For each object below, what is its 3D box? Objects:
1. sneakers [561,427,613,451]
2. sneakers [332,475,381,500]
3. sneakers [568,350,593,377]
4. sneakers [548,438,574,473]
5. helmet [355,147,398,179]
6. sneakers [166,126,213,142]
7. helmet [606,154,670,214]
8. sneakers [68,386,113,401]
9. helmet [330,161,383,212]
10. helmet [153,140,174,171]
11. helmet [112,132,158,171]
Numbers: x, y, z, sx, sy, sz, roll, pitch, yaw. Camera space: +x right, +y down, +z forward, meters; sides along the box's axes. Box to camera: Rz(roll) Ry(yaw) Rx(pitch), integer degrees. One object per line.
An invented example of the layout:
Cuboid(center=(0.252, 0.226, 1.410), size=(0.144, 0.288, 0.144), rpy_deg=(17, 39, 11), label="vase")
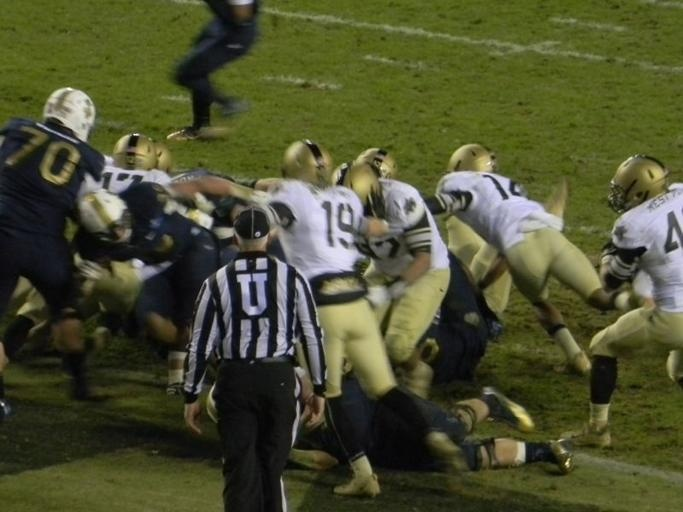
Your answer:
Cuboid(center=(1.565, 1.164, 7.131), size=(0.279, 0.115, 0.203), rpy_deg=(-1, -4, 3), label="sneakers")
Cuboid(center=(0.102, 1.309, 6.330), size=(0.302, 0.127, 0.108), rpy_deg=(2, 0, 5), label="sneakers")
Cuboid(center=(1.673, 0.761, 7.921), size=(0.191, 0.161, 0.139), rpy_deg=(-11, 7, -12), label="sneakers")
Cuboid(center=(1.310, 1.191, 6.678), size=(0.090, 0.235, 0.106), rpy_deg=(-15, 5, 29), label="sneakers")
Cuboid(center=(0.249, -0.673, 7.801), size=(0.290, 0.212, 0.207), rpy_deg=(6, -15, 15), label="helmet")
Cuboid(center=(-1.411, -1.131, 10.292), size=(0.342, 0.114, 0.219), rpy_deg=(-3, 3, -15), label="sneakers")
Cuboid(center=(1.948, -0.485, 7.358), size=(0.402, 0.366, 0.314), rpy_deg=(0, 21, 19), label="helmet")
Cuboid(center=(-1.611, 0.882, 7.156), size=(0.182, 0.043, 0.104), rpy_deg=(6, 0, -41), label="sneakers")
Cuboid(center=(0.124, -0.457, 7.095), size=(0.356, 0.347, 0.283), rpy_deg=(0, 7, 36), label="helmet")
Cuboid(center=(-1.322, -0.736, 8.276), size=(0.189, 0.227, 0.214), rpy_deg=(3, -16, -17), label="helmet")
Cuboid(center=(-1.520, -0.743, 8.089), size=(0.307, 0.311, 0.385), rpy_deg=(3, -8, -9), label="helmet")
